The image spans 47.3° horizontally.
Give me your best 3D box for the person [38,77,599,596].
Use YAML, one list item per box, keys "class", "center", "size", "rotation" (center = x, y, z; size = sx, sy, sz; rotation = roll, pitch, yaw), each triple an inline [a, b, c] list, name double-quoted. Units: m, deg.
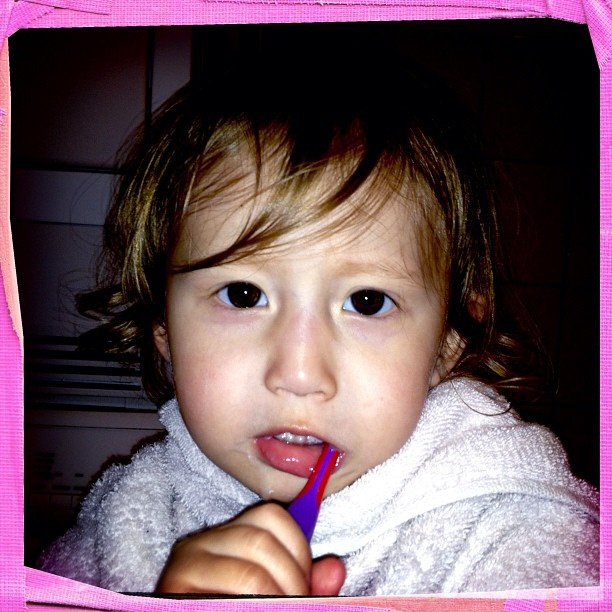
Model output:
- class: "person"
  center: [0.036, 0.058, 1.053]
  size: [0.844, 0.720, 0.491]
  rotation: [3, 8, 8]
